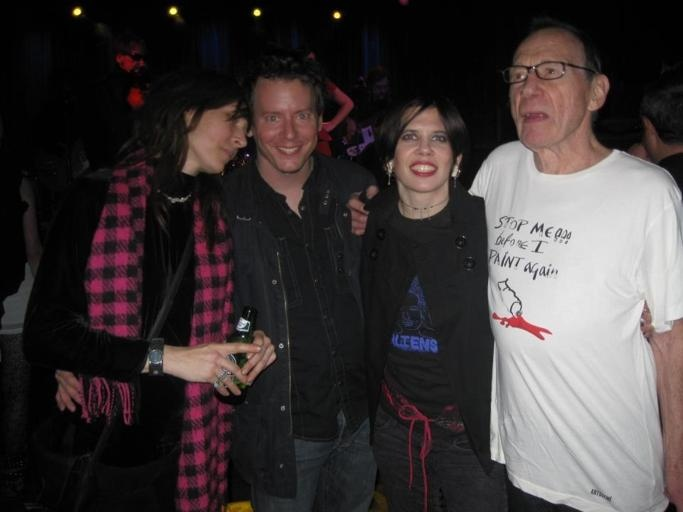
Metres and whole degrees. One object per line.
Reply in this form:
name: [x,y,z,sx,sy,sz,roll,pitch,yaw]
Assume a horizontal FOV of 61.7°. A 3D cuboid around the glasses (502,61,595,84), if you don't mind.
glasses: [1.081,-0.941,2.930,0.412,0.104,0.162,3,8,21]
